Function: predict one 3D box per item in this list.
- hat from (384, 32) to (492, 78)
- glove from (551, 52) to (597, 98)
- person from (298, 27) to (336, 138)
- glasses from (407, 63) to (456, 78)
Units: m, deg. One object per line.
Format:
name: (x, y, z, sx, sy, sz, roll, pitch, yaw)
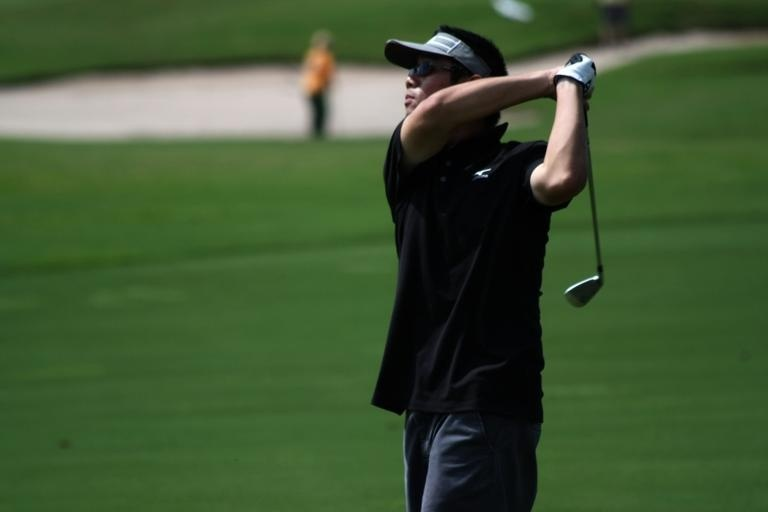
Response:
hat: (0.347, -1.353, 8.614, 0.569, 0.170, 0.340, 19, -1, -5)
glove: (1.242, -1.228, 8.471, 0.228, 0.243, 0.390, 7, -6, 29)
person: (-0.613, -1.731, 11.971, 0.285, 1.154, 0.532, 5, -32, -3)
glasses: (0.293, -1.233, 8.555, 0.158, 0.045, 0.147, 5, -4, -18)
